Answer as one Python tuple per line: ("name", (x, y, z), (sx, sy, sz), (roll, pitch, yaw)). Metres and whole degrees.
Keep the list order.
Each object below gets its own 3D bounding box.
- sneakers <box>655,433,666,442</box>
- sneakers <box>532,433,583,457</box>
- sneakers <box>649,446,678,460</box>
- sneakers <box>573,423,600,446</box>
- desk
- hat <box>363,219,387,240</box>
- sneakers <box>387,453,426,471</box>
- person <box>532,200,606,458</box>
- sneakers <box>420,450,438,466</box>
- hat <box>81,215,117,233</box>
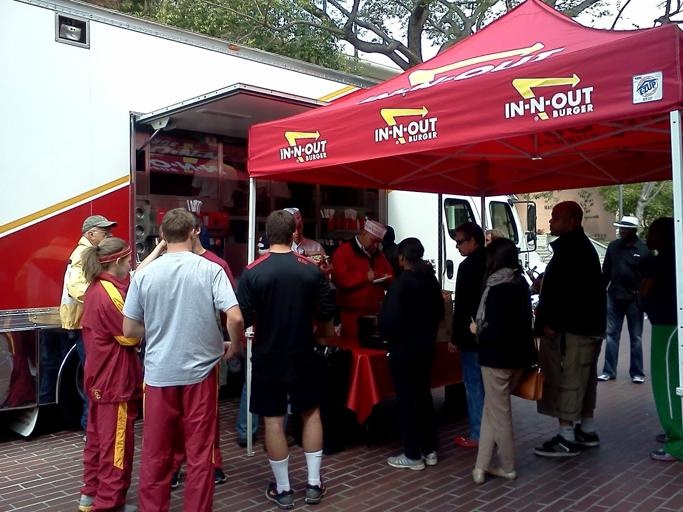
("sneakers", (3.029, 1.715, 5.632), (0.063, 0.050, 0.119), (6, 10, 37))
("sneakers", (1.935, 1.672, 5.312), (0.386, 0.195, 0.188), (1, -1, 15))
("sneakers", (2.803, 1.725, 5.191), (0.145, 0.062, 0.101), (4, 2, 8))
("sneakers", (2.270, 1.685, 5.575), (0.114, 0.144, 0.322), (-3, 6, -9))
("desk", (0.436, 1.140, 5.486), (0.927, 0.481, 0.904), (-2, -2, -44))
("hat", (0.319, -0.300, 5.982), (0.167, 0.129, 0.214), (14, 19, -44))
("sneakers", (0.556, 1.745, 5.138), (0.314, 0.153, 0.126), (5, 2, 20))
("person", (2.053, 0.649, 5.311), (0.637, 2.262, 0.440), (-1, 3, -15))
("sneakers", (0.772, 1.756, 5.161), (0.070, 0.081, 0.186), (0, 2, 1))
("hat", (-2.180, -0.260, 5.314), (0.273, 0.140, 0.184), (-8, 3, -2))
